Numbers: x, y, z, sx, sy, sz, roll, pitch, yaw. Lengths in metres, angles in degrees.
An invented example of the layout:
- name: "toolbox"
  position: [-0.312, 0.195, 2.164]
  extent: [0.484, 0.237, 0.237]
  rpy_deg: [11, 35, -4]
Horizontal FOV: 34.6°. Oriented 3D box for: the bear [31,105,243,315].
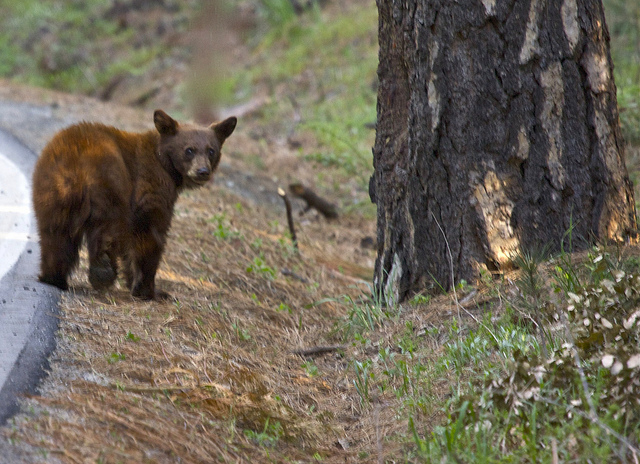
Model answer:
- name: "bear"
  position: [-1.913, -0.337, 10.377]
  extent: [0.879, 1.771, 2.210]
  rpy_deg: [5, 3, 30]
